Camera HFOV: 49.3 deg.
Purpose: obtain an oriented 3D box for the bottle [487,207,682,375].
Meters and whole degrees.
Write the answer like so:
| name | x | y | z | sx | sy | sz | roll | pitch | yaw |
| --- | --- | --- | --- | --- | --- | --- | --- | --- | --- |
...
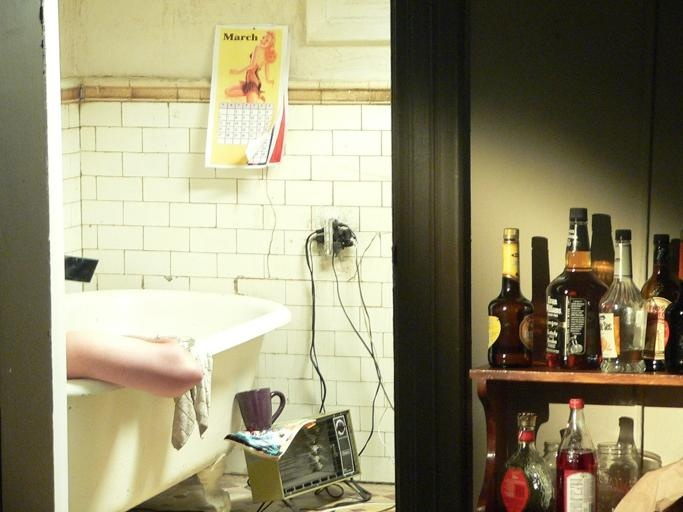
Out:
| name | x | y | z | sx | sy | sz | roll | pitch | yaw |
| --- | --- | --- | --- | --- | --- | --- | --- | --- | --- |
| bottle | 0.506 | 0.075 | 1.571 | 0.379 | 0.289 | 0.135 | 3 | -1 | 17 |

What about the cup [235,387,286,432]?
| name | x | y | z | sx | sy | sz | roll | pitch | yaw |
| --- | --- | --- | --- | --- | --- | --- | --- | --- | --- |
| cup | -0.297 | 0.574 | 2.735 | 0.169 | 0.147 | 0.151 | -10 | -10 | -1 |
